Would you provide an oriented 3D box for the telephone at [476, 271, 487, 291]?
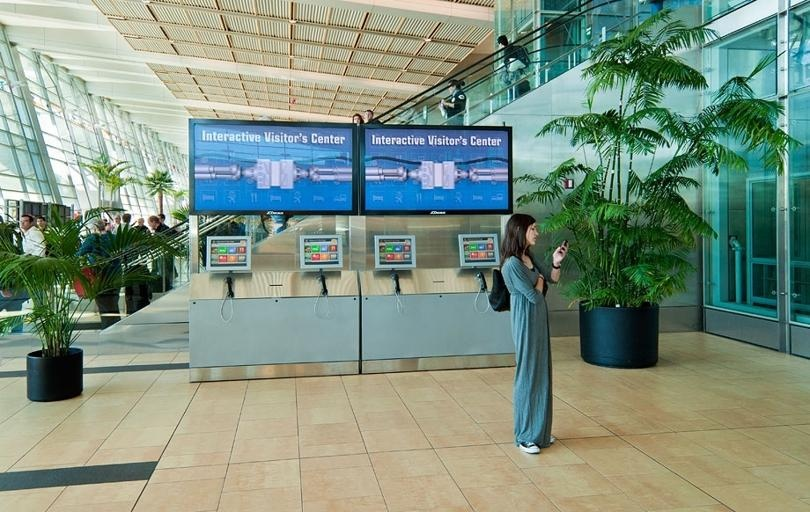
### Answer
[{"bbox_3d":[1.038,0.347,7.617,0.119,0.248,0.112,0,14,2],"label":"telephone"}]

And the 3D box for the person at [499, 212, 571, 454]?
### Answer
[{"bbox_3d":[1.260,0.748,5.482,0.552,2.254,0.685,-2,14,-8],"label":"person"}]

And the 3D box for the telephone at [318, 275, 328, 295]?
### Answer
[{"bbox_3d":[-1.081,0.372,7.366,0.097,0.292,0.154,-3,14,-12],"label":"telephone"}]

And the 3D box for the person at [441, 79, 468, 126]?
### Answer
[{"bbox_3d":[0.821,-2.652,9.656,0.438,0.740,0.950,1,13,3],"label":"person"}]

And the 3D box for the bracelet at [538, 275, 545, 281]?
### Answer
[{"bbox_3d":[1.335,0.215,5.533,0.057,0.021,0.054,3,14,-17],"label":"bracelet"}]

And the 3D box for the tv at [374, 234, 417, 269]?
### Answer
[{"bbox_3d":[-0.145,-0.048,7.510,0.466,0.361,0.148,-1,-1,-7],"label":"tv"}]

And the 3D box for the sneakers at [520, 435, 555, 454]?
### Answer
[{"bbox_3d":[1.241,1.856,5.523,0.136,0.136,0.356,2,-10,4],"label":"sneakers"}]

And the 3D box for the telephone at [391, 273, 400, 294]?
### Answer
[{"bbox_3d":[-0.122,0.376,7.440,0.097,0.275,0.112,-9,9,-30],"label":"telephone"}]

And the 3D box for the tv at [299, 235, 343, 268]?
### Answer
[{"bbox_3d":[-1.120,-0.011,7.589,0.749,0.577,0.392,0,-6,-9],"label":"tv"}]
